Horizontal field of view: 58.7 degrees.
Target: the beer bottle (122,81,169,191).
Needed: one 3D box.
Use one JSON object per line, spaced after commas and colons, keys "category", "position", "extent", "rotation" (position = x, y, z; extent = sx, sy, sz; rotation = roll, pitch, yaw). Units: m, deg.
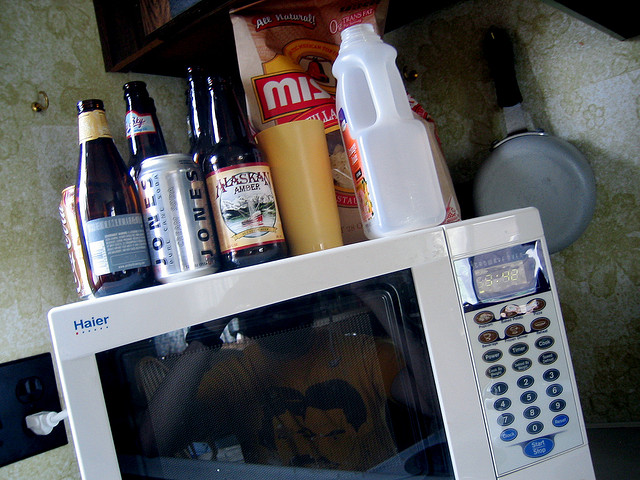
{"category": "beer bottle", "position": [-0.303, -0.187, 1.022], "extent": [0.071, 0.189, 0.075], "rotation": [2, 13, 0]}
